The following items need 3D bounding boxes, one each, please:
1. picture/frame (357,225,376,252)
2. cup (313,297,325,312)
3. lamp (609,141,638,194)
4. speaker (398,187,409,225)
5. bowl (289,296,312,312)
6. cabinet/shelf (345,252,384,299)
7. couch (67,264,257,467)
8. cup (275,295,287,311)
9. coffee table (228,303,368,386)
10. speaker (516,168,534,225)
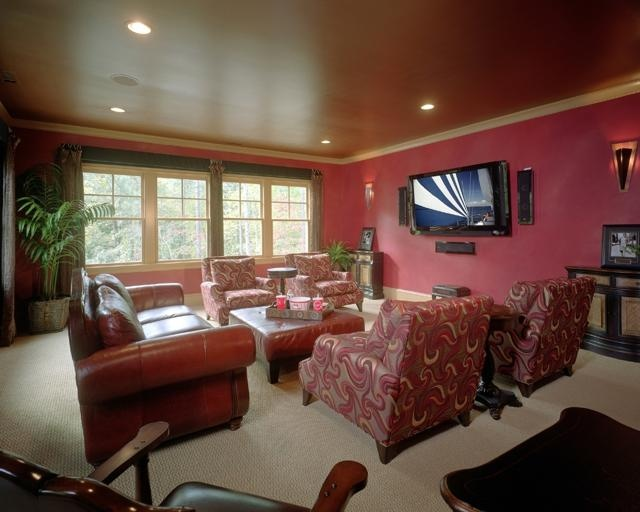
[{"bbox_3d":[0.832,-0.298,7.349,0.038,0.569,0.449,16,-7,-36],"label":"picture/frame"},{"bbox_3d":[0.000,0.470,4.062,0.108,0.123,0.108,0,2,0],"label":"cup"},{"bbox_3d":[3.067,-0.896,4.260,0.208,0.499,0.089,7,13,37],"label":"lamp"},{"bbox_3d":[1.320,-0.776,6.622,0.124,0.615,0.203,-1,11,-2],"label":"speaker"},{"bbox_3d":[-0.183,0.472,4.104,0.143,0.093,0.133,-1,4,0],"label":"bowl"},{"bbox_3d":[0.759,0.314,7.336,0.294,0.773,0.809,-3,5,-32],"label":"cabinet/shelf"},{"bbox_3d":[-1.172,0.197,3.064,1.025,1.111,2.414,-1,1,-27],"label":"couch"},{"bbox_3d":[-0.397,0.475,4.139,0.118,0.131,0.119,0,2,0],"label":"cup"},{"bbox_3d":[-0.224,0.710,3.830,0.663,0.335,0.905,-1,2,-31],"label":"coffee table"},{"bbox_3d":[2.464,-0.707,5.027,0.212,0.657,0.117,5,12,28],"label":"speaker"}]
